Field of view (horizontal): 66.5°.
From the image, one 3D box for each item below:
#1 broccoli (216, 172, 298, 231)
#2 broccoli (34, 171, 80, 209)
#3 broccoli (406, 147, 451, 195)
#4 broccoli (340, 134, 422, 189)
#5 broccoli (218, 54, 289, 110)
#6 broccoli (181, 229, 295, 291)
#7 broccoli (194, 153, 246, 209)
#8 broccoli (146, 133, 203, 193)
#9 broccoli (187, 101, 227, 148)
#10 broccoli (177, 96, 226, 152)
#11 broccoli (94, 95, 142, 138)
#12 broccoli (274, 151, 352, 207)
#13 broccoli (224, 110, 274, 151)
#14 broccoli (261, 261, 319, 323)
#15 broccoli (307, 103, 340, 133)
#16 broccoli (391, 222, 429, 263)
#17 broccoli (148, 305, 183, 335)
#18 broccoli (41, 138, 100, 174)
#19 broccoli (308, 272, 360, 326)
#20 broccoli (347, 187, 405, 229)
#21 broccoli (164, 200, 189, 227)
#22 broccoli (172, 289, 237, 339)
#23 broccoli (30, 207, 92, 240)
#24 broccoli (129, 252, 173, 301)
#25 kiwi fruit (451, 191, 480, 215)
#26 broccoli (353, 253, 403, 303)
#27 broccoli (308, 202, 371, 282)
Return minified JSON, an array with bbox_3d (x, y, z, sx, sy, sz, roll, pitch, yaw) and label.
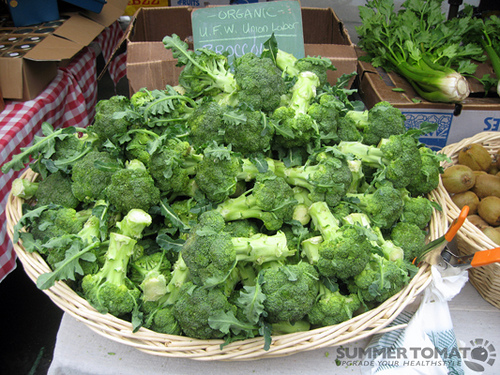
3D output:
[{"bbox_3d":[0.037,0.104,2.190,0.393,0.316,0.211,-14,16,1],"label":"broccoli"},{"bbox_3d":[-1.230,0.024,2.407,0.229,0.079,0.257,8,66,-6],"label":"broccoli"},{"bbox_3d":[1.145,-0.089,2.534,0.270,0.157,0.291,1,61,-9],"label":"broccoli"},{"bbox_3d":[0.804,-0.180,2.405,0.434,0.252,0.304,5,6,8],"label":"broccoli"},{"bbox_3d":[0.058,-0.594,2.411,0.387,0.223,0.327,-25,67,17],"label":"broccoli"},{"bbox_3d":[-0.073,0.388,2.132,0.676,0.303,0.359,-4,2,-23],"label":"broccoli"},{"bbox_3d":[-0.186,-0.054,2.258,0.254,0.246,0.251,-15,13,-24],"label":"broccoli"},{"bbox_3d":[-0.446,-0.155,2.219,0.335,0.227,0.310,17,60,12],"label":"broccoli"},{"bbox_3d":[-0.240,-0.397,2.322,0.086,0.253,0.262,21,39,-43],"label":"broccoli"},{"bbox_3d":[-0.265,-0.389,2.328,0.105,0.316,0.327,21,38,-43],"label":"broccoli"},{"bbox_3d":[-0.834,-0.419,2.352,0.265,0.140,0.236,0,39,15],"label":"broccoli"},{"bbox_3d":[0.402,-0.054,2.325,0.419,0.214,0.292,15,73,24],"label":"broccoli"},{"bbox_3d":[-0.013,-0.306,2.149,0.229,0.245,0.095,7,6,-8],"label":"broccoli"},{"bbox_3d":[0.179,0.523,2.109,0.282,0.319,0.309,5,10,-21],"label":"broccoli"},{"bbox_3d":[0.453,-0.416,2.390,0.150,0.091,0.189,-45,100,-10],"label":"broccoli"},{"bbox_3d":[0.946,0.311,2.280,0.174,0.121,0.234,2,44,1],"label":"broccoli"},{"bbox_3d":[-0.462,0.744,2.082,0.117,0.084,0.155,30,60,4],"label":"broccoli"},{"bbox_3d":[-1.140,-0.198,2.469,0.355,0.106,0.200,-40,61,10],"label":"broccoli"},{"bbox_3d":[0.537,0.651,2.254,0.197,0.395,0.272,36,61,1],"label":"broccoli"},{"bbox_3d":[0.764,0.102,2.311,0.277,0.203,0.140,31,6,16],"label":"broccoli"},{"bbox_3d":[-0.437,0.151,2.274,0.069,0.126,0.153,16,58,-50],"label":"broccoli"},{"bbox_3d":[-0.237,0.661,2.014,0.240,0.181,0.287,20,17,35],"label":"broccoli"},{"bbox_3d":[-1.157,0.221,2.375,0.299,0.162,0.187,-18,81,-3],"label":"broccoli"},{"bbox_3d":[-0.610,0.492,2.240,0.266,0.189,0.448,5,17,-15],"label":"broccoli"},{"bbox_3d":[1.524,0.116,2.698,0.103,0.127,0.110,9,57,-24],"label":"kiwi fruit"},{"bbox_3d":[0.710,0.494,2.137,0.195,0.167,0.273,-1,7,-7],"label":"broccoli"},{"bbox_3d":[0.474,0.277,2.186,0.316,0.235,0.453,-22,54,-8],"label":"broccoli"}]
